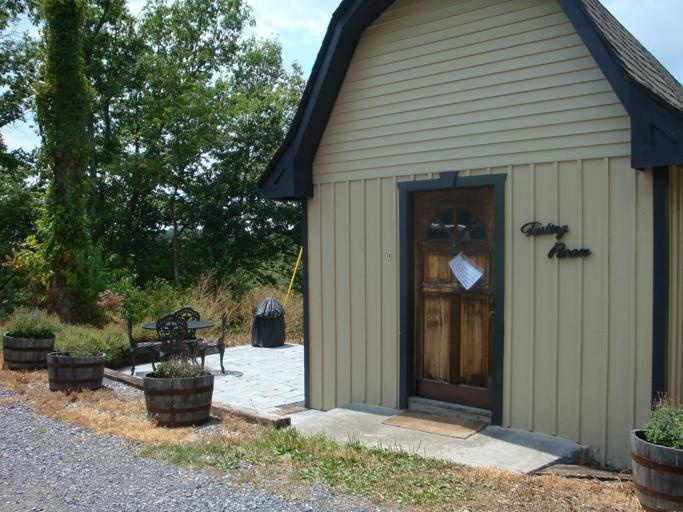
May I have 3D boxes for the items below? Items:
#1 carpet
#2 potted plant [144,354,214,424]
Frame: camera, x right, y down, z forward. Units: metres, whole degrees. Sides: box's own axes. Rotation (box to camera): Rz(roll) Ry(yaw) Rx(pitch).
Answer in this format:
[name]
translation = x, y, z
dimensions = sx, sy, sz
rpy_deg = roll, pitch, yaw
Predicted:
[carpet]
translation = 1.341, 2.364, 9.464
dimensions = 1.297, 0.041, 0.730
rpy_deg = 2, 7, 30
[potted plant]
translation = -2.311, 1.918, 9.700
dimensions = 0.843, 0.692, 0.914
rpy_deg = 2, -8, -18
